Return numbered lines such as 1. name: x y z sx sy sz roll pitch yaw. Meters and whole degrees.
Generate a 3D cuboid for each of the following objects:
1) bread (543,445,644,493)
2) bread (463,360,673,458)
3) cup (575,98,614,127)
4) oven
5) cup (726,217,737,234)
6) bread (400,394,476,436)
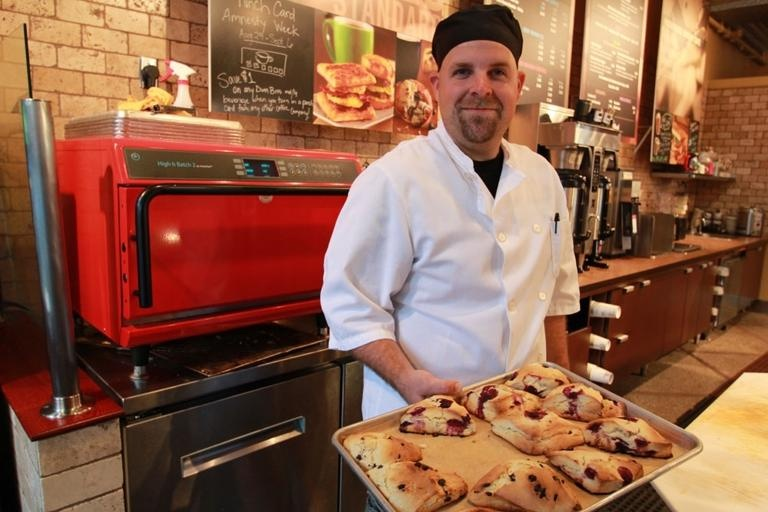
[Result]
1. bread: 0.542 0.523 1.350 0.127 0.036 0.125 -3 11 -24
2. bread: 0.507 0.453 1.470 0.267 0.068 0.300 -5 8 -34
3. cup: 1.589 -1.072 3.960 0.371 0.196 0.157 -12 20 -34
4. oven: -0.640 -0.120 2.208 0.818 0.597 1.134 14 16 39
5. cup: 4.175 -0.370 6.282 0.113 0.197 0.099 -1 17 2
6. bread: 0.158 0.459 1.520 0.233 0.071 0.229 -12 2 3
